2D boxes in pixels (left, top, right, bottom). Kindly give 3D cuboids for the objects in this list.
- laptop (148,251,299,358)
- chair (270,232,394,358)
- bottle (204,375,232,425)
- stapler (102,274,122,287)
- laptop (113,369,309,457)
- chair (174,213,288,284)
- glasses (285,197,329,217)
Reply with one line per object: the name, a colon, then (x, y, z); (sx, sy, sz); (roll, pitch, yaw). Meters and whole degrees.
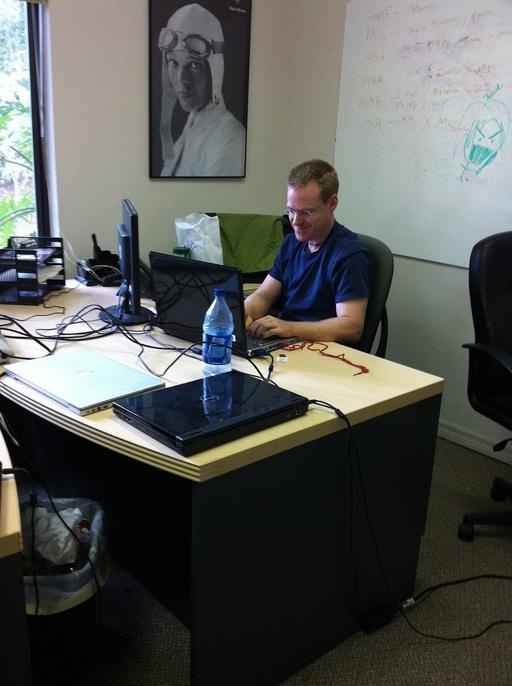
laptop: (-0.107, -0.153, 1.606); (0.306, 0.280, 0.428); (-15, 24, -40)
chair: (0.313, -0.199, 2.124); (0.348, 0.582, 0.345); (-14, 18, -40)
bottle: (-0.080, 0.117, 1.136); (0.057, 0.020, 0.086); (-11, 27, -21)
stapler: (-0.617, -0.264, 2.307); (0.058, 0.044, 0.064); (-5, 3, -21)
laptop: (-0.104, 0.130, 1.077); (0.211, 0.028, 0.165); (-15, 25, -37)
chair: (-0.114, -0.513, 2.681); (0.412, 0.197, 0.532); (-6, 17, -29)
glasses: (0.184, -0.460, 1.858); (0.153, 0.080, 0.085); (3, 15, 4)
